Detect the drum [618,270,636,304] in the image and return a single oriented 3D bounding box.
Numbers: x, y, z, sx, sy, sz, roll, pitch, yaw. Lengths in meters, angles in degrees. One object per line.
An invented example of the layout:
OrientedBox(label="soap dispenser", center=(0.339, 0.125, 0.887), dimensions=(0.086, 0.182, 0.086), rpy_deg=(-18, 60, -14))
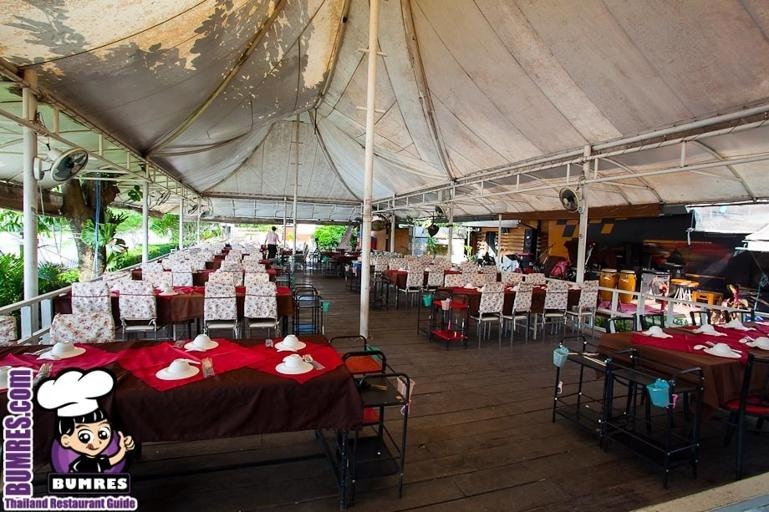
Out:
OrientedBox(label="drum", center=(6.289, 0.797, 12.481), dimensions=(0.449, 0.745, 1.258), rpy_deg=(4, 2, 25))

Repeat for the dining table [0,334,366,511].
OrientedBox(label="dining table", center=(-2.130, 1.612, 4.876), dimensions=(3.483, 1.321, 1.166), rpy_deg=(2, 1, -14))

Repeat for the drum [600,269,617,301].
OrientedBox(label="drum", center=(5.855, 0.745, 12.595), dimensions=(0.419, 0.721, 0.736), rpy_deg=(3, 1, 14))

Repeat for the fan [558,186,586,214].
OrientedBox(label="fan", center=(3.576, -1.088, 9.233), dimensions=(0.341, 0.395, 0.431), rpy_deg=(2, 1, -26))

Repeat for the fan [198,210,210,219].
OrientedBox(label="fan", center=(-7.904, -1.811, 20.900), dimensions=(0.295, 0.355, 0.545), rpy_deg=(3, 1, -1))

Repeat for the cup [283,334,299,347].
OrientedBox(label="cup", center=(-1.053, 0.932, 5.287), dimensions=(0.152, 0.063, 0.143), rpy_deg=(2, -2, 0))

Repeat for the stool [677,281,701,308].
OrientedBox(label="stool", center=(7.291, 0.914, 11.506), dimensions=(0.414, 0.597, 0.431), rpy_deg=(3, 1, -3))
